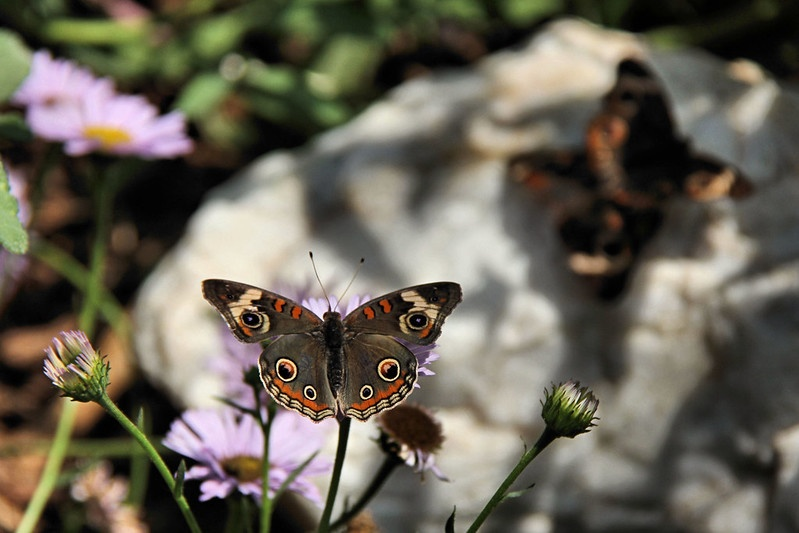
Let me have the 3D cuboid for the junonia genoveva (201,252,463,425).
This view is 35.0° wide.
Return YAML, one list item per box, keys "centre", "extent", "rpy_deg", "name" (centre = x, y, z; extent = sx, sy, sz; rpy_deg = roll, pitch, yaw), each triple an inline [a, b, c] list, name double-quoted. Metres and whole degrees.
- centre: [-0.164, 0.213, 3.374]
  extent: [0.766, 0.191, 0.467]
  rpy_deg: [1, 89, 2]
  name: "junonia genoveva"

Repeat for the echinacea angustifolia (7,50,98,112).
- centre: [-1.003, -0.533, 3.668]
  extent: [0.250, 0.141, 0.198]
  rpy_deg: [-11, 35, -6]
  name: "echinacea angustifolia"

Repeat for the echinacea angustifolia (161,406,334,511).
- centre: [-0.395, 0.517, 3.441]
  extent: [0.435, 0.342, 0.242]
  rpy_deg: [2, 80, -1]
  name: "echinacea angustifolia"

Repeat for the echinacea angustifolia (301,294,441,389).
- centre: [-0.027, 0.207, 3.398]
  extent: [0.265, 0.105, 0.288]
  rpy_deg: [4, 65, -2]
  name: "echinacea angustifolia"
